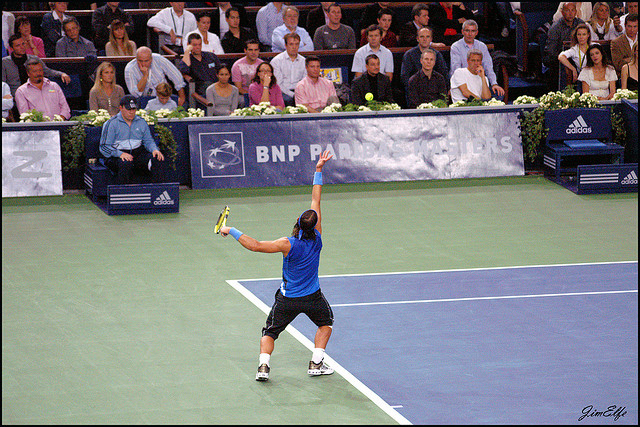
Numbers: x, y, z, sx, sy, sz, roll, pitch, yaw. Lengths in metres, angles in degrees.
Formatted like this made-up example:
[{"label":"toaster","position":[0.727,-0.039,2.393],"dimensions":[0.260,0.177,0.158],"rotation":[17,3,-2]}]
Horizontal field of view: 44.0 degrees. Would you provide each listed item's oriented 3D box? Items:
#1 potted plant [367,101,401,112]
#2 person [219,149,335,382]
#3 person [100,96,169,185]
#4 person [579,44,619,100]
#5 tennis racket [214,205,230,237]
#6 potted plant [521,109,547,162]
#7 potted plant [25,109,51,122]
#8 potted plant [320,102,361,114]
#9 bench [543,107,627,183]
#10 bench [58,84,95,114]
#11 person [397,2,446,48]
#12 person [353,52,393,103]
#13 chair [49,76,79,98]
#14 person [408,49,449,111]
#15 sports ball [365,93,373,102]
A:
[{"label":"potted plant","position":[1.573,-2.643,19.286],"dimensions":[0.787,0.277,0.538],"rotation":[-3,6,3]},{"label":"person","position":[-0.417,0.773,10.877],"dimensions":[1.123,2.893,1.157],"rotation":[-3,6,0]},{"label":"person","position":[-4.131,-1.606,17.306],"dimensions":[1.288,1.940,0.661],"rotation":[-5,7,-17]},{"label":"person","position":[7.102,-3.639,20.172],"dimensions":[0.892,1.390,0.519],"rotation":[-2,7,15]},{"label":"tennis racket","position":[-1.572,0.131,12.697],"dimensions":[0.075,0.280,0.661],"rotation":[26,12,3]},{"label":"potted plant","position":[5.236,-1.974,19.460],"dimensions":[0.658,1.026,0.546],"rotation":[3,-5,-8]},{"label":"potted plant","position":[-6.288,-2.191,17.699],"dimensions":[0.378,0.208,0.336],"rotation":[2,2,-7]},{"label":"potted plant","position":[0.525,-2.599,19.272],"dimensions":[0.961,0.258,0.696],"rotation":[-3,6,0]},{"label":"bench","position":[6.392,-1.716,19.033],"dimensions":[1.783,1.556,0.969],"rotation":[-4,11,-13]},{"label":"bench","position":[-6.019,-2.873,19.525],"dimensions":[1.135,0.759,0.039],"rotation":[-9,30,-24]},{"label":"person","position":[2.779,-5.337,22.125],"dimensions":[1.595,1.303,1.174],"rotation":[10,18,43]},{"label":"person","position":[1.308,-3.394,19.726],"dimensions":[0.938,1.166,0.410],"rotation":[-3,6,3]},{"label":"chair","position":[-6.426,-3.233,19.827],"dimensions":[0.751,0.522,0.538],"rotation":[4,-6,5]},{"label":"person","position":[2.711,-3.439,19.986],"dimensions":[0.955,1.433,0.552],"rotation":[-3,6,6]},{"label":"sports ball","position":[1.203,-2.851,19.258],"dimensions":[0.160,0.188,0.207],"rotation":[12,18,40]}]
